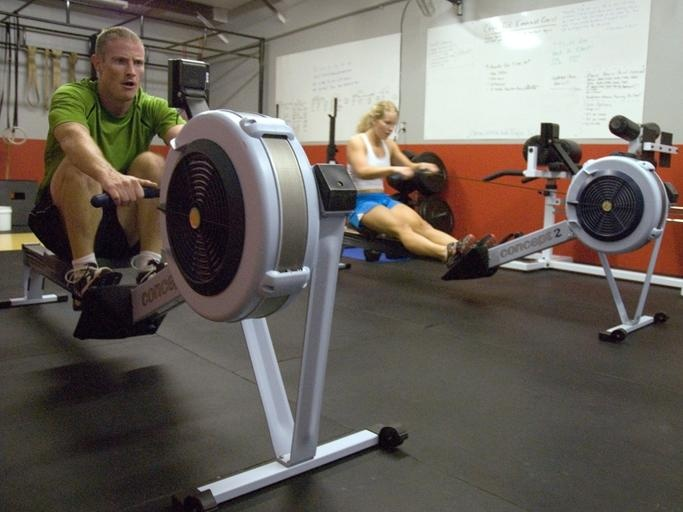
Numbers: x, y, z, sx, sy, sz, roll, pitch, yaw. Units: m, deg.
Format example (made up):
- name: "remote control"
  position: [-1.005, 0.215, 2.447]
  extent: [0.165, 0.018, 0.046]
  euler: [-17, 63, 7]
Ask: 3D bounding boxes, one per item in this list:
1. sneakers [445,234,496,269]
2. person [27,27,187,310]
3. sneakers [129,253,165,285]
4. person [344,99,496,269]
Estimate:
- name: "sneakers"
  position: [0.768, -0.012, 3.003]
  extent: [0.268, 0.211, 0.349]
  euler: [2, 11, 4]
- name: "person"
  position: [-0.868, -0.328, 1.966]
  extent: [0.548, 1.096, 0.966]
  euler: [-6, 12, -35]
- name: "sneakers"
  position: [-0.701, 0.040, 1.860]
  extent: [0.126, 0.051, 0.134]
  euler: [-18, 38, -8]
- name: "person"
  position: [0.408, -0.533, 3.470]
  extent: [0.488, 1.043, 0.998]
  euler: [-4, 11, -26]
